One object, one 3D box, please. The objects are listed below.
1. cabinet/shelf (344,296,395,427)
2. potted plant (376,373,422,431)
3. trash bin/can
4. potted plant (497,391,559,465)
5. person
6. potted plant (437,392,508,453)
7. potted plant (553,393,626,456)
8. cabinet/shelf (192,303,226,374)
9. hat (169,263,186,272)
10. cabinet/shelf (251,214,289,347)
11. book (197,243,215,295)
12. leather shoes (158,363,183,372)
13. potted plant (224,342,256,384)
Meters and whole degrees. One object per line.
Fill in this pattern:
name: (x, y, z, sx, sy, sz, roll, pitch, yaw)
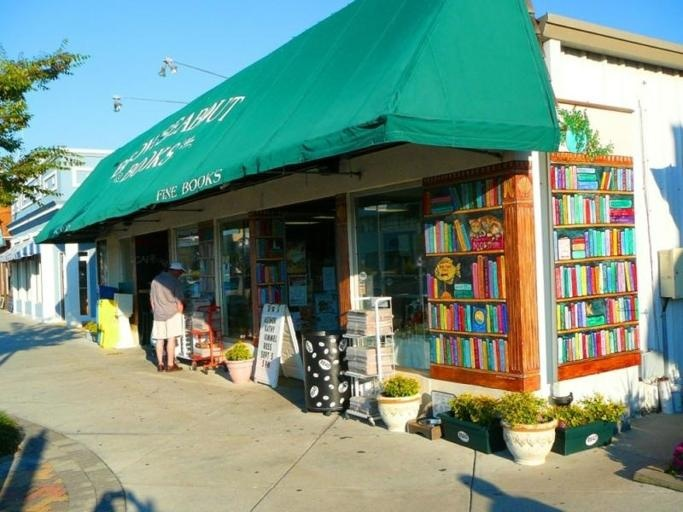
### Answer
cabinet/shelf: (0.394, 1.523, 9.245, 0.570, 1.598, 0.689, 0, -5, -33)
potted plant: (0.810, 1.976, 8.846, 0.585, 0.744, 0.652, -1, 1, -33)
trash bin/can: (-0.115, 1.738, 9.494, 0.620, 1.199, 0.287, -3, 3, -2)
potted plant: (2.125, 2.060, 7.556, 0.591, 0.711, 0.574, 3, -18, -5)
person: (-3.161, 1.245, 12.942, 0.574, 2.181, 0.462, -4, 3, -15)
potted plant: (1.595, 2.060, 7.897, 0.550, 0.518, 0.740, -3, 4, -33)
potted plant: (2.853, 2.039, 7.761, 0.699, 0.378, 0.624, -1, -1, -27)
cabinet/shelf: (-2.454, 1.633, 12.902, 0.618, 1.257, 0.583, -1, -2, 37)
hat: (-3.083, 0.253, 13.357, 0.328, 0.187, 0.236, 2, 1, -36)
cabinet/shelf: (-1.163, 0.418, 12.197, 0.515, 2.296, 0.275, -3, 17, -10)
book: (-2.607, 0.290, 13.808, 0.136, 1.180, 0.781, -4, 4, -26)
leather shoes: (-3.158, 2.291, 13.006, 0.480, 0.214, 0.181, -1, 3, -25)
potted plant: (-1.643, 1.916, 11.749, 0.611, 0.744, 0.632, -3, 3, -20)
